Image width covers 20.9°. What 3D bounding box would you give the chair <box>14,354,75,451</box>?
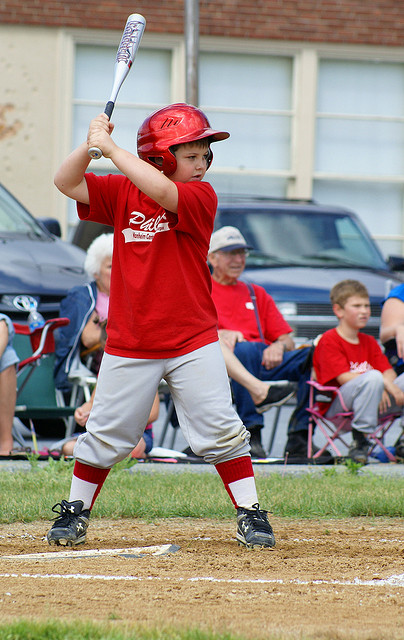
[{"bbox_3d":[-0.978,0.558,6.760,0.334,0.397,0.340,-17,4,-14],"label":"chair"}]

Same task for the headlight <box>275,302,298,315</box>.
[{"bbox_3d":[0.506,-0.068,6.574,0.132,0.073,0.034,1,-3,4],"label":"headlight"}]

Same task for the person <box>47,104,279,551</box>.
[{"bbox_3d":[-0.138,0.013,3.821,0.787,1.564,0.418,1,-3,-3],"label":"person"}]
